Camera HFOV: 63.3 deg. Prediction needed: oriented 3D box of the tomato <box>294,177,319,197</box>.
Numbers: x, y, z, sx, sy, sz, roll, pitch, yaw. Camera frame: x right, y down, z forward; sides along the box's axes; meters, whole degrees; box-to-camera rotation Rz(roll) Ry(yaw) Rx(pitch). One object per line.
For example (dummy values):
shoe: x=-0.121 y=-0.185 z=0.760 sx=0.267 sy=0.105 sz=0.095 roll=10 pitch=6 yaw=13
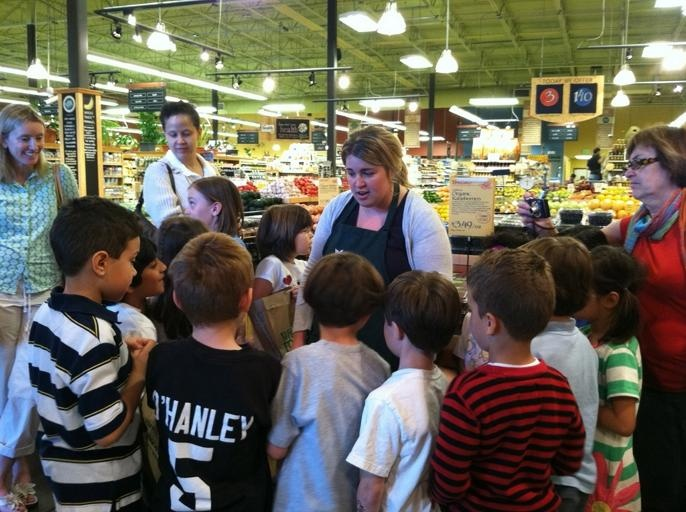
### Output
tomato: x=-0.499 y=-0.928 z=7.649 sx=0.266 sy=0.128 sz=0.377 roll=2 pitch=28 yaw=-8
